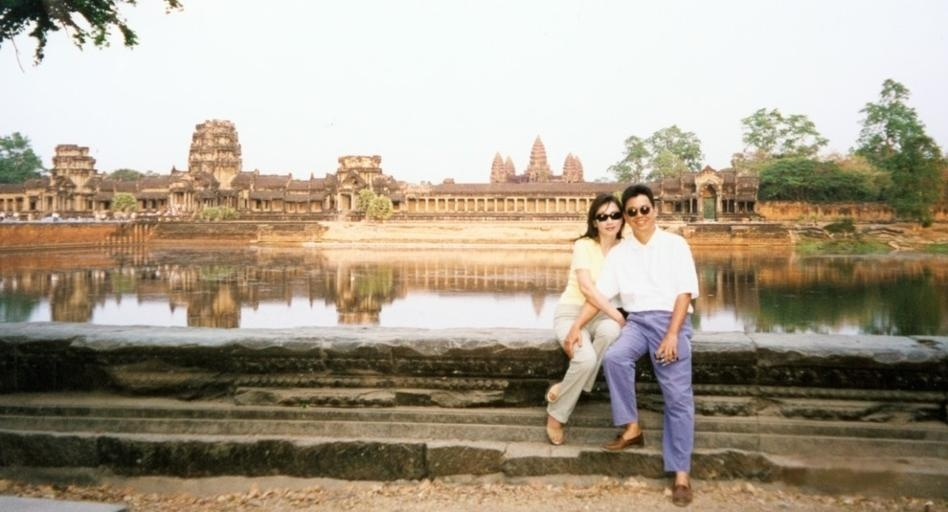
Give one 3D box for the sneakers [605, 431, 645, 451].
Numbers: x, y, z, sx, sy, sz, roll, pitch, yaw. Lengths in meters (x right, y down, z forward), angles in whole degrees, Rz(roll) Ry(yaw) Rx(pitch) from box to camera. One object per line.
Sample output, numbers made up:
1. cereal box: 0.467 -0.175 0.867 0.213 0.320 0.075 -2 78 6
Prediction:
1. sneakers: 2.167 2.714 11.228 0.644 0.189 0.214 -2 -3 -7
